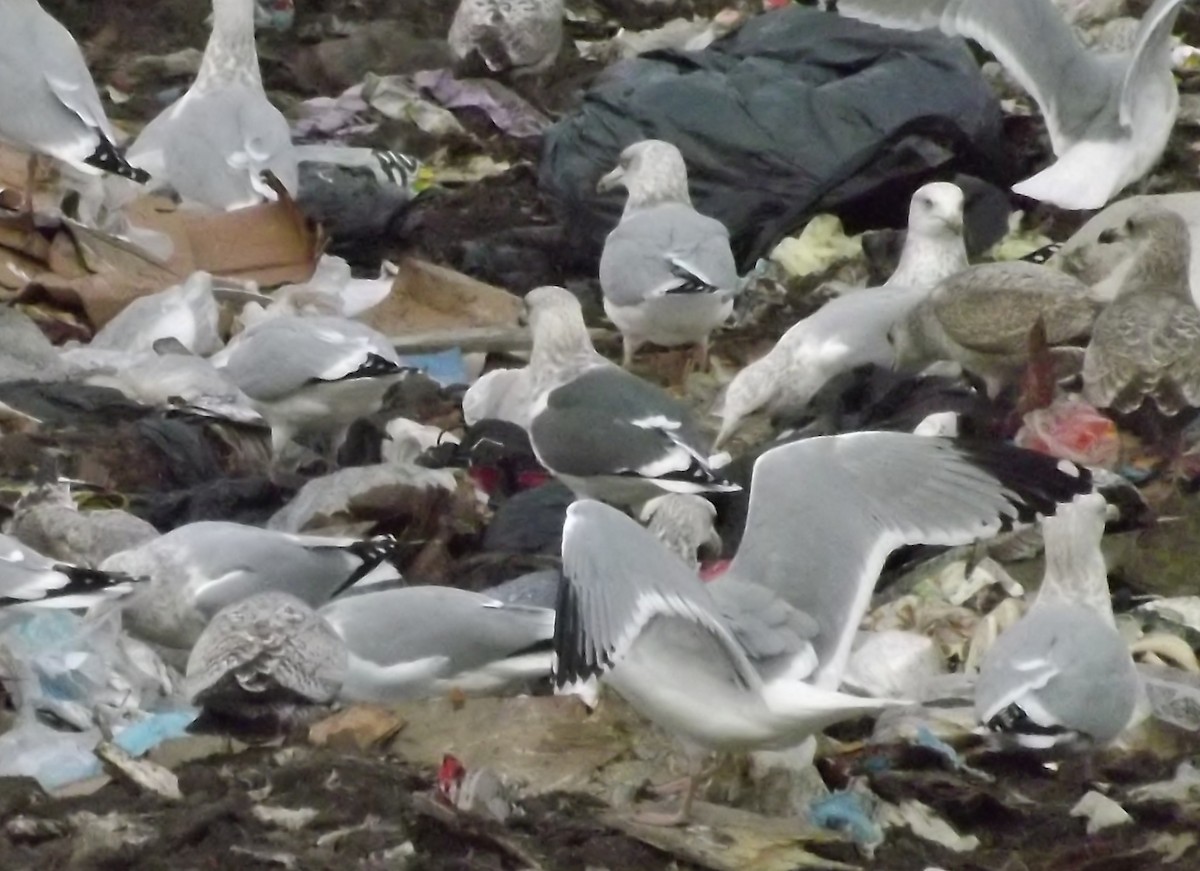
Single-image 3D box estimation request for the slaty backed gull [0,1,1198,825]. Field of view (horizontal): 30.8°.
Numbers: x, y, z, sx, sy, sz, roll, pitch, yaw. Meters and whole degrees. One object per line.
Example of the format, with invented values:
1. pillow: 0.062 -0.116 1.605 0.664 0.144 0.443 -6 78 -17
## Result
1. slaty backed gull: -0.052 -0.462 6.629 3.282 1.280 3.543 9 48 3
